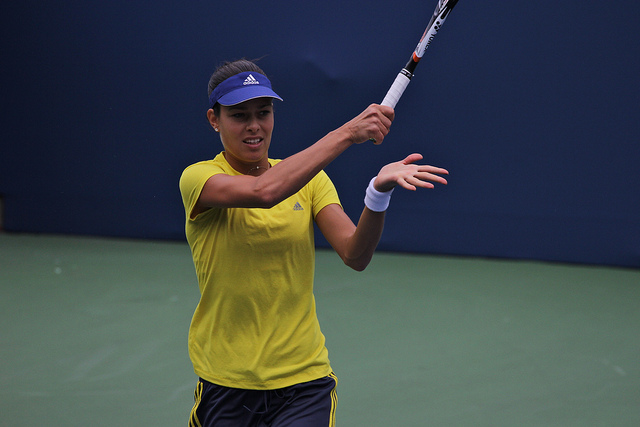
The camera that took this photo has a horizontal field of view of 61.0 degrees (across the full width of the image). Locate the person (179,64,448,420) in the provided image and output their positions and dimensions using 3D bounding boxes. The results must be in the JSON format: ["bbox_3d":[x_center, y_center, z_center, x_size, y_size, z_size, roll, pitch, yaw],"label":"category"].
[{"bbox_3d":[-0.256,0.209,3.251,1.151,2.203,0.479,3,4,6],"label":"person"}]

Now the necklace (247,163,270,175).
[{"bbox_3d":[-0.395,-0.268,3.405,0.144,0.056,0.028,1,4,-35],"label":"necklace"}]

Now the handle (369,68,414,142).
[{"bbox_3d":[0.457,-0.778,3.408,0.135,0.650,0.169,20,-15,36],"label":"handle"}]
